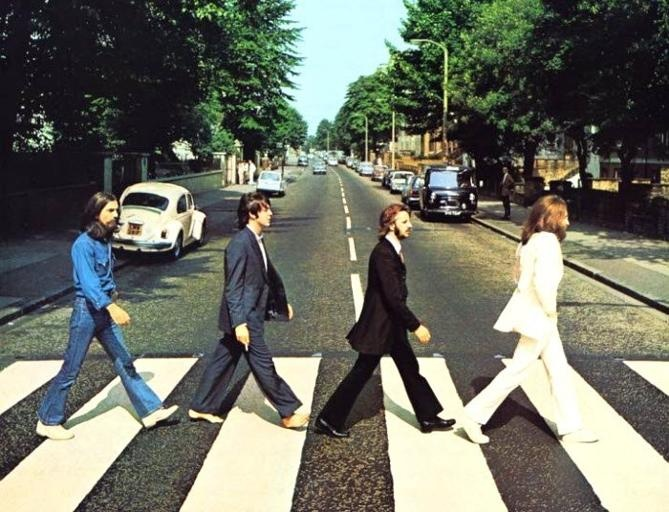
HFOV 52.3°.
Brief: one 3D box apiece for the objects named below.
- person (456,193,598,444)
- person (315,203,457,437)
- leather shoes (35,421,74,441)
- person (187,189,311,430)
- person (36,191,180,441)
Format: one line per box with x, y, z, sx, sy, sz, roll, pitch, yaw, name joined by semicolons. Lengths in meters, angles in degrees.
1.932;0.588;6.623;1.142;2.318;1.011;4;10;23;person
0.496;0.616;6.615;1.250;2.230;0.547;1;9;6;person
-2.721;1.692;6.643;0.311;0.157;0.175;3;9;-4;leather shoes
-0.869;0.569;6.810;1.123;2.421;0.756;2;14;-4;person
-2.324;0.565;6.663;1.222;2.346;0.562;-4;9;-22;person
